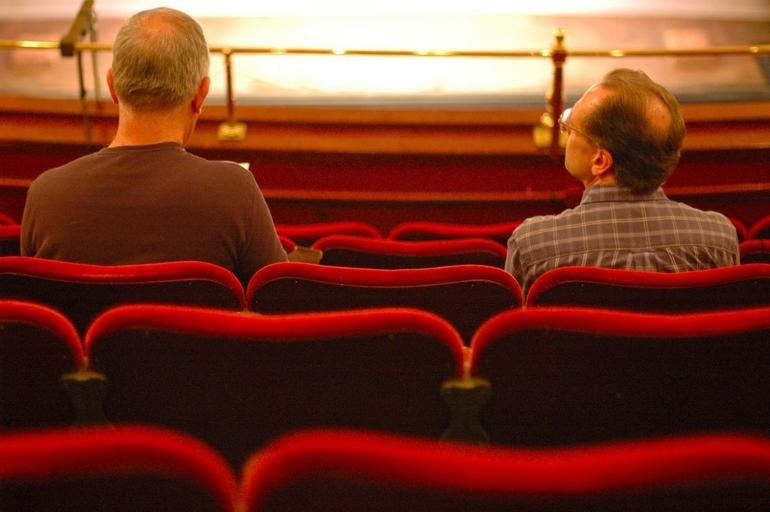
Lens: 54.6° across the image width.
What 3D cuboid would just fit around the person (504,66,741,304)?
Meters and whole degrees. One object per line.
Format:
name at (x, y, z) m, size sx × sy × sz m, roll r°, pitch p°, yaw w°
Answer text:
person at (0.833, -0.239, 2.602) m, size 0.918 × 0.786 × 0.452 m, roll -5°, pitch 15°, yaw -24°
